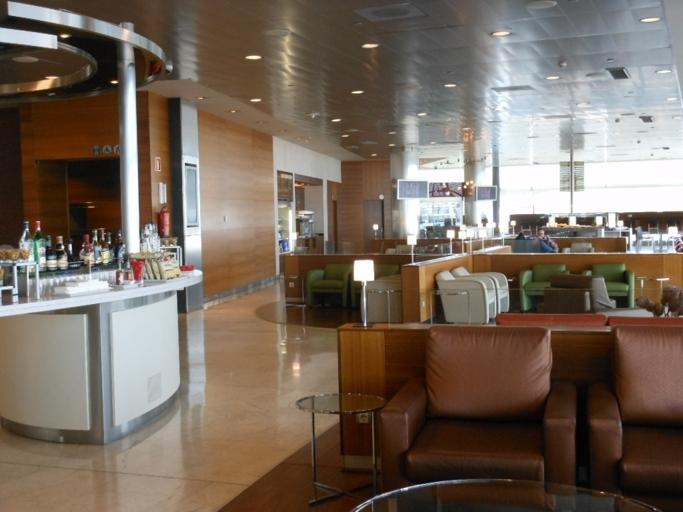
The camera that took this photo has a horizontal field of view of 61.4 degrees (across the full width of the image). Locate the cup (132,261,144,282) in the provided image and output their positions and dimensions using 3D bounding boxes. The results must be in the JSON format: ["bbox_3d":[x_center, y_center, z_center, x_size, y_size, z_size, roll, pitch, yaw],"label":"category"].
[{"bbox_3d":[-1.973,0.144,5.558,0.099,0.199,0.113,-4,6,-26],"label":"cup"}]

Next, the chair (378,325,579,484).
[{"bbox_3d":[0.947,0.987,3.872,1.174,0.885,0.968,1,6,18],"label":"chair"}]

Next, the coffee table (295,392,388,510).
[{"bbox_3d":[0.020,1.357,4.283,0.782,0.702,0.721,1,7,9],"label":"coffee table"}]

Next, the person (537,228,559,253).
[{"bbox_3d":[4.424,-0.309,12.357,0.377,0.387,1.070,1,5,19],"label":"person"}]
